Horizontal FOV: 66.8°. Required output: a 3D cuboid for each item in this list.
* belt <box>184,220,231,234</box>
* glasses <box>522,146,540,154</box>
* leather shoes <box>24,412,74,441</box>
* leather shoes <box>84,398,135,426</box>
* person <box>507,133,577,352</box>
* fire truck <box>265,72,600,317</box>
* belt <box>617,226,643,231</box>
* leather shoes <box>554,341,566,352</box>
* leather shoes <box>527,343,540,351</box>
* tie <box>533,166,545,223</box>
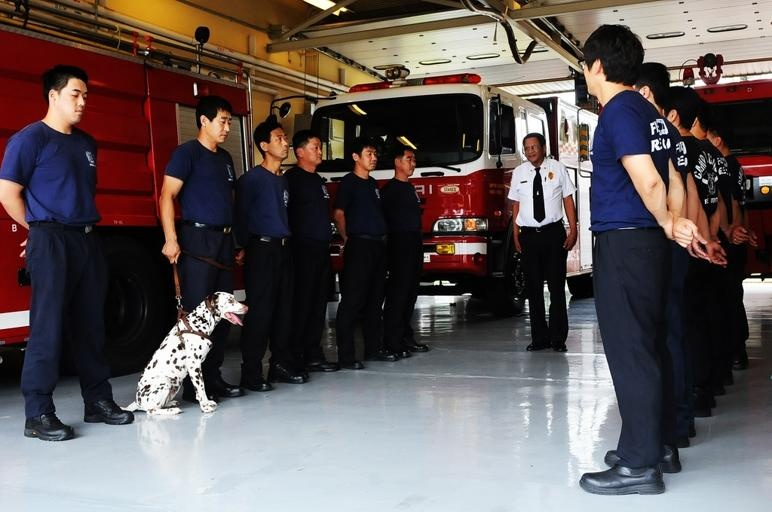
[{"bbox_3d":[-1.681,-0.265,5.477,0.423,0.111,0.119,-3,2,-27],"label":"belt"},{"bbox_3d":[1.900,-1.390,7.692,0.107,0.053,0.135,0,-5,25],"label":"glasses"},{"bbox_3d":[-2.676,1.352,4.689,0.402,0.159,0.178,1,-1,12],"label":"leather shoes"},{"bbox_3d":[-2.389,1.344,5.071,0.480,0.178,0.178,0,-3,12],"label":"leather shoes"},{"bbox_3d":[2.033,-0.199,7.619,0.818,1.975,0.438,-2,1,11],"label":"person"},{"bbox_3d":[2.103,-1.209,12.328,4.185,3.793,8.142,2,2,31],"label":"fire truck"},{"bbox_3d":[1.494,-0.172,3.628,0.121,0.025,0.009,-1,1,20],"label":"belt"},{"bbox_3d":[2.216,1.155,7.485,0.171,0.092,0.239,-1,2,14],"label":"leather shoes"},{"bbox_3d":[1.896,1.182,7.566,0.152,0.055,0.080,4,-2,-21],"label":"leather shoes"},{"bbox_3d":[1.946,-0.785,7.530,0.143,0.499,0.253,-2,1,14],"label":"tie"}]
